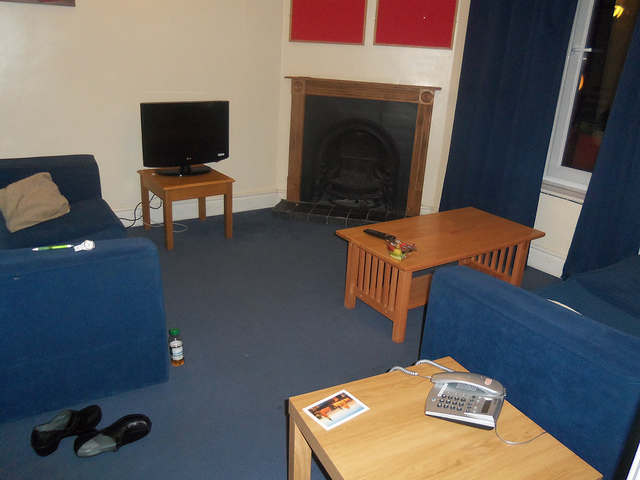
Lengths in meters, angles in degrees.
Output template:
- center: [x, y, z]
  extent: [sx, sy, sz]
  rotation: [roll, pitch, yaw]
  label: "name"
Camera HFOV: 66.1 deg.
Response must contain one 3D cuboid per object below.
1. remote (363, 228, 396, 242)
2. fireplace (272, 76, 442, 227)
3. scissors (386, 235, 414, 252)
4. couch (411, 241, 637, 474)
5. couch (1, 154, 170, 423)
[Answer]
- center: [0.432, -0.040, 3.518]
  extent: [0.074, 0.026, 0.247]
  rotation: [-21, 36, -33]
  label: "remote"
- center: [0.375, -0.961, 5.092]
  extent: [1.499, 1.336, 0.444]
  rotation: [0, 22, -2]
  label: "fireplace"
- center: [0.530, 0.031, 3.312]
  extent: [0.117, 0.074, 0.090]
  rotation: [15, 19, 23]
  label: "scissors"
- center: [1.213, 0.331, 2.477]
  extent: [0.966, 0.790, 0.990]
  rotation: [-27, 39, -37]
  label: "couch"
- center: [-1.392, 0.284, 2.867]
  extent: [0.754, 0.736, 1.456]
  rotation: [-4, 26, -23]
  label: "couch"
